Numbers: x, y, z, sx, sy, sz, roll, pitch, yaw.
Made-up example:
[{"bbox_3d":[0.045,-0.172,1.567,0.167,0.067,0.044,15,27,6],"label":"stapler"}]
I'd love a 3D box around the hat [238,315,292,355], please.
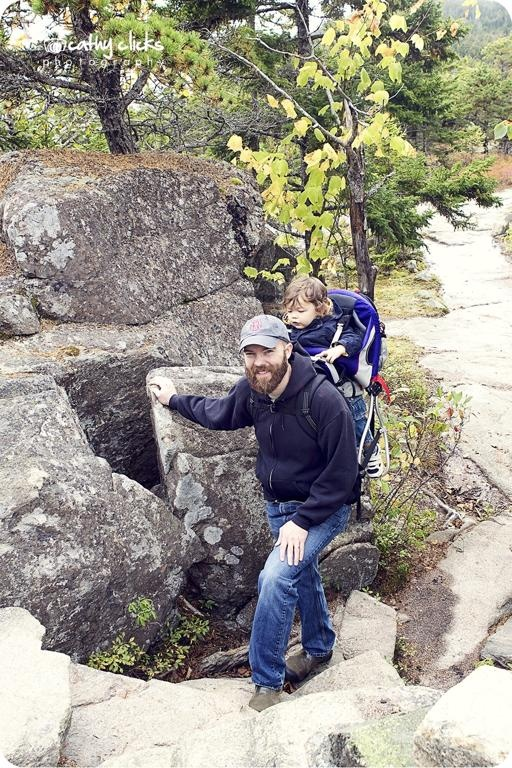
[{"bbox_3d":[0.044,-0.255,3.427,0.161,0.113,0.230,-8,-3,18],"label":"hat"}]

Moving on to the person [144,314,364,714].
[{"bbox_3d":[0.200,0.722,3.694,0.827,2.224,1.303,-12,22,-5],"label":"person"}]

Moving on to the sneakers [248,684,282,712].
[{"bbox_3d":[0.042,1.571,3.323,0.158,0.103,0.144,-10,21,-3],"label":"sneakers"}]

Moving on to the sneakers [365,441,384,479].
[{"bbox_3d":[0.763,0.485,4.233,0.082,0.101,0.238,-24,13,23],"label":"sneakers"}]

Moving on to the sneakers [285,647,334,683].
[{"bbox_3d":[0.323,1.615,3.897,0.118,0.132,0.361,1,4,39],"label":"sneakers"}]
